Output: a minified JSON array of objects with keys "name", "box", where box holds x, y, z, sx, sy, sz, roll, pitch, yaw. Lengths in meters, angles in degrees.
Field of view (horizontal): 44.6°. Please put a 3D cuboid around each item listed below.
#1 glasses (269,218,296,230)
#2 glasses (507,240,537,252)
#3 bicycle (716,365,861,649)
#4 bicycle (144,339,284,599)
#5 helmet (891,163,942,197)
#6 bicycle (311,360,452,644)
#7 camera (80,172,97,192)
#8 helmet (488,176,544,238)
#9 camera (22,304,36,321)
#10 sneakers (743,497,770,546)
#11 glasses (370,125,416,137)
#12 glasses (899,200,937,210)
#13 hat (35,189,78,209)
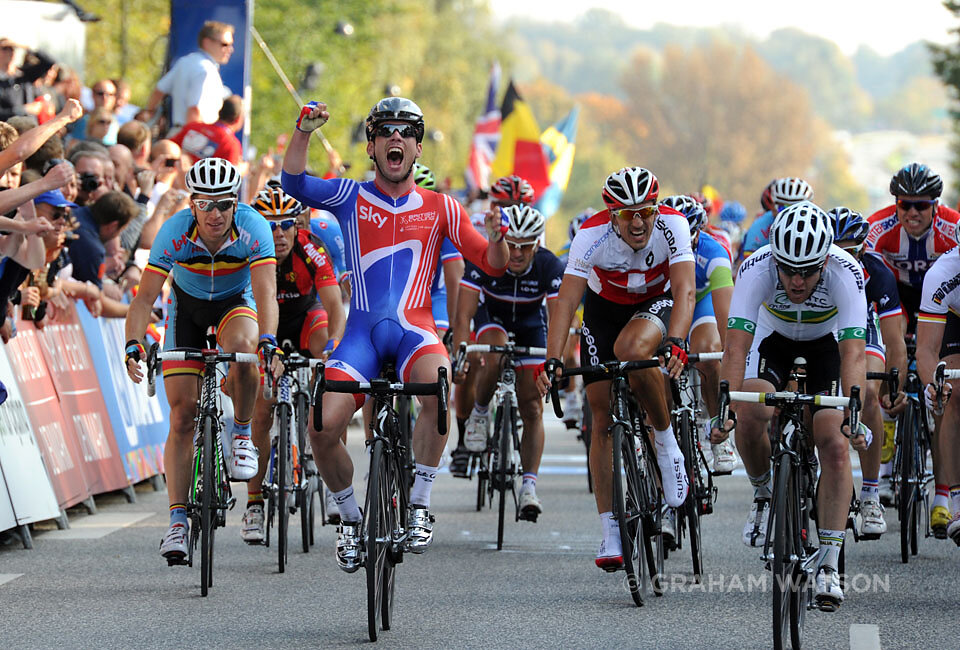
[{"name":"glasses","box":[-1.622,-0.831,9.678,0.274,0.104,0.119,0,1,-43]},{"name":"glasses","box":[0.381,-0.691,10.222,0.369,0.080,0.187,0,1,-45]},{"name":"bicycle","box":[1.889,1.059,7.169,0.769,1.701,1.568,1,1,17]},{"name":"bicycle","box":[-1.940,0.988,8.370,0.871,1.708,1.071,0,1,-17]},{"name":"helmet","box":[3.917,-1.303,10.553,0.551,0.330,0.315,0,1,-23]},{"name":"bicycle","box":[-0.600,1.062,8.040,0.811,1.619,2.471,1,1,1]},{"name":"camera","box":[-3.870,-1.413,11.570,0.241,0.195,0.120,1,1,20]},{"name":"helmet","box":[0.309,-1.188,11.140,0.445,0.712,0.247,9,-15,-13]},{"name":"camera","box":[-3.839,-0.100,9.959,0.027,0.116,0.117,3,-6,42]},{"name":"sneakers","box":[1.952,1.388,8.289,0.127,0.184,0.449,6,29,13]},{"name":"glasses","box":[-0.564,-1.270,7.648,0.274,0.082,0.096,1,1,-10]},{"name":"glasses","box":[3.916,-1.080,10.555,0.315,0.087,0.169,1,1,1]},{"name":"hat","box":[-3.272,-0.971,9.044,0.317,0.151,0.216,2,5,-5]}]
